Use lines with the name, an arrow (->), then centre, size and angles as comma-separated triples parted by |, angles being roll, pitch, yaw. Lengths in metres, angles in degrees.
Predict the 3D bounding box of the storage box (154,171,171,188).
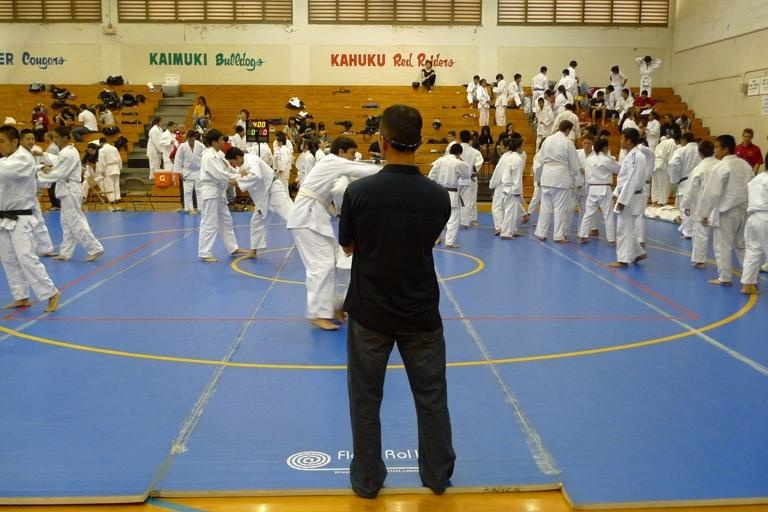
storage box -> -6.288, -2.176, 19.305 | 0.441, 0.323, 0.435 | -2, 2, -8
